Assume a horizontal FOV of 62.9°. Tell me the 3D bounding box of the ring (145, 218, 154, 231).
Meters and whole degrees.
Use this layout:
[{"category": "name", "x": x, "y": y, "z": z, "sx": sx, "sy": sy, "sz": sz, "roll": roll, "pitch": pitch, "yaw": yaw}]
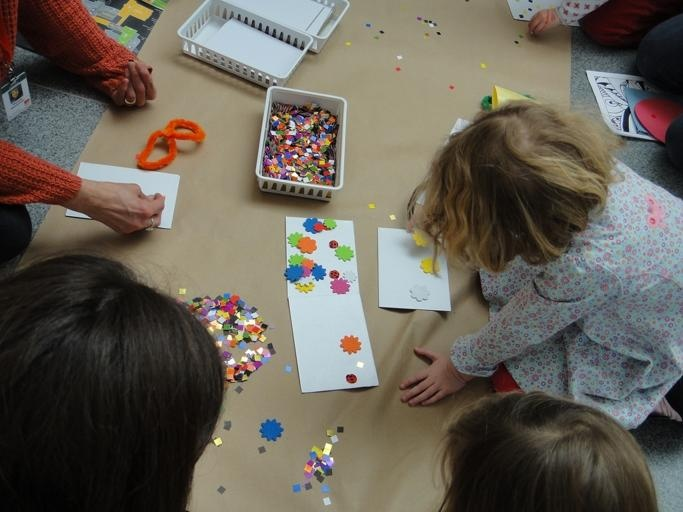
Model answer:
[{"category": "ring", "x": -0.587, "y": -0.097, "z": 1.724, "sx": 0.023, "sy": 0.027, "sz": 0.034, "roll": 1, "pitch": 65, "yaw": -2}]
